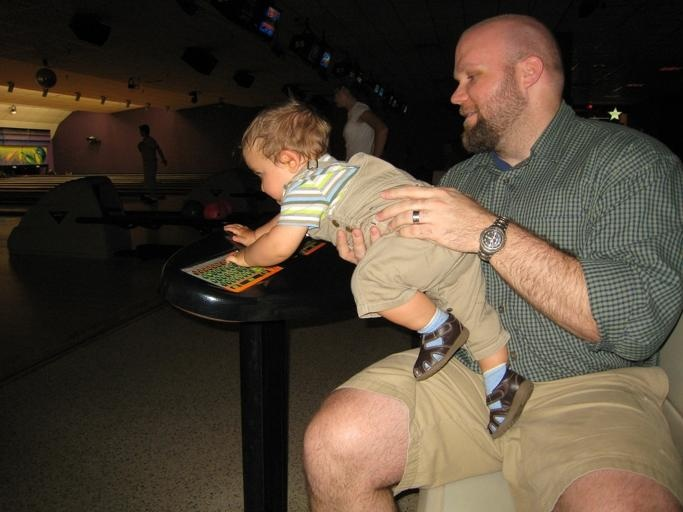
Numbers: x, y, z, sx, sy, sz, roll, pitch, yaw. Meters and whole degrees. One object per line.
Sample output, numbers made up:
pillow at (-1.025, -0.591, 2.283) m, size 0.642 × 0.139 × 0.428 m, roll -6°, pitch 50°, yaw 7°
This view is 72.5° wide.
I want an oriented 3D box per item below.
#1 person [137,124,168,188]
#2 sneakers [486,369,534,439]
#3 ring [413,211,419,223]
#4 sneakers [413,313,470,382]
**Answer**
person at (-4.219, -2.193, 10.412) m, size 0.523 × 1.312 × 1.618 m, roll -3°, pitch 16°, yaw -21°
sneakers at (0.472, 0.405, 1.361) m, size 0.102 × 0.227 × 0.077 m, roll 28°, pitch -8°, yaw 24°
ring at (0.216, -0.112, 1.353) m, size 0.025 × 0.025 × 0.035 m, roll 0°, pitch 16°, yaw 1°
sneakers at (0.285, 0.260, 1.395) m, size 0.103 × 0.239 × 0.088 m, roll 42°, pitch -7°, yaw -7°
